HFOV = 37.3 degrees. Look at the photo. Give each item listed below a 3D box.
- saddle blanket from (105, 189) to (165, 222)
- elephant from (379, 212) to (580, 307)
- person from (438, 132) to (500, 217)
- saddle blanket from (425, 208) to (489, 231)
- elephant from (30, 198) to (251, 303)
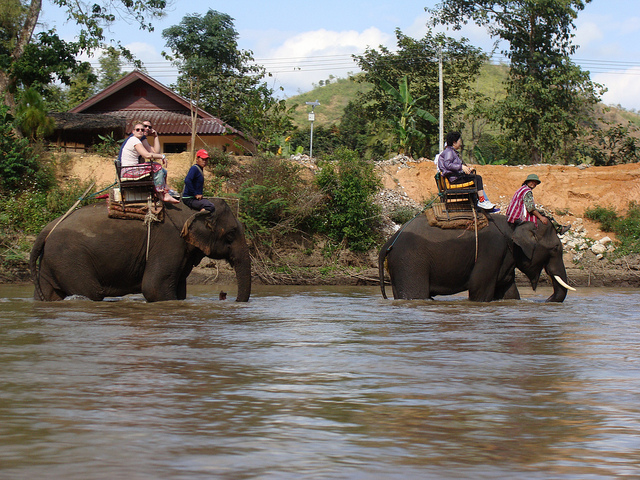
[{"bbox_3d":[-3.194,-0.577,15.714,0.673,0.521,0.339,-2,15,-10],"label":"saddle blanket"},{"bbox_3d":[2.854,0.507,16.670,3.945,1.700,1.267,-1,3,-12],"label":"elephant"},{"bbox_3d":[2.502,-1.120,16.279,0.968,1.466,0.517,1,16,4],"label":"person"},{"bbox_3d":[2.352,-0.358,16.255,1.069,0.322,0.372,2,14,6],"label":"saddle blanket"},{"bbox_3d":[-3.010,0.336,16.251,3.855,1.772,1.815,-3,9,-15],"label":"elephant"}]
